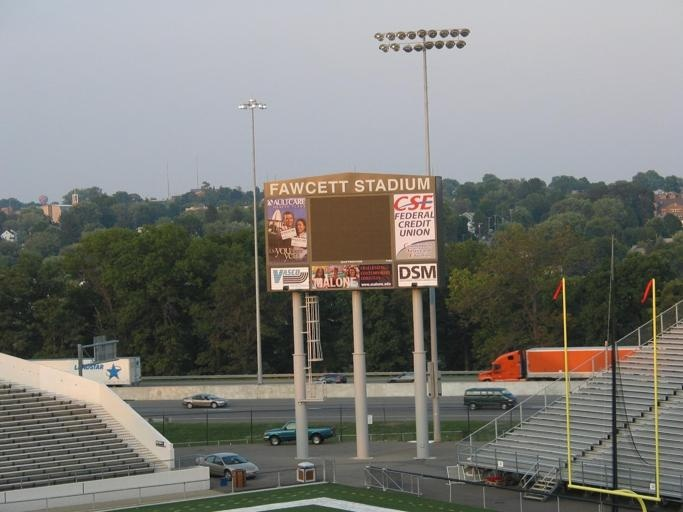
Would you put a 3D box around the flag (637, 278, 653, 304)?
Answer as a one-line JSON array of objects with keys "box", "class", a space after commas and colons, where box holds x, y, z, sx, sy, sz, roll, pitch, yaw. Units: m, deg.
[{"box": [34.827, 4.211, 209.931, 0.855, 3.651, 0.615, 4, -35, 28], "class": "flag"}]

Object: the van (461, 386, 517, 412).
[{"box": [15.648, 14.965, 190.467, 4.191, 1.664, 2.453, -1, 0, 8], "class": "van"}]

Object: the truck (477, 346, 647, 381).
[{"box": [23.150, 11.963, 194.443, 17.993, 4.277, 4.304, -2, 3, 18], "class": "truck"}]

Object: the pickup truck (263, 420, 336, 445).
[{"box": [-3.838, 17.689, 180.867, 5.927, 2.118, 2.685, 1, -2, 1], "class": "pickup truck"}]

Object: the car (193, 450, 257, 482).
[{"box": [-10.263, 19.733, 170.957, 5.582, 2.356, 3.032, -4, -3, 25], "class": "car"}]
